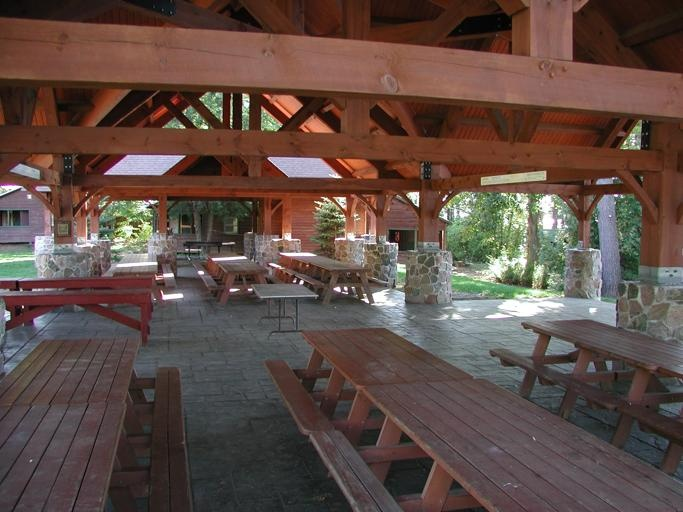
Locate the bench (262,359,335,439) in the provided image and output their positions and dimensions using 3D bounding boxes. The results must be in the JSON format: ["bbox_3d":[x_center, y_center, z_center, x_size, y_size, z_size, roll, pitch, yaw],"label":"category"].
[{"bbox_3d":[-0.424,1.041,3.706,0.220,0.060,1.406,5,8,-24],"label":"bench"}]

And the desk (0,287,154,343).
[{"bbox_3d":[-3.947,0.781,7.043,1.910,0.713,2.503,-1,5,-22],"label":"desk"}]
